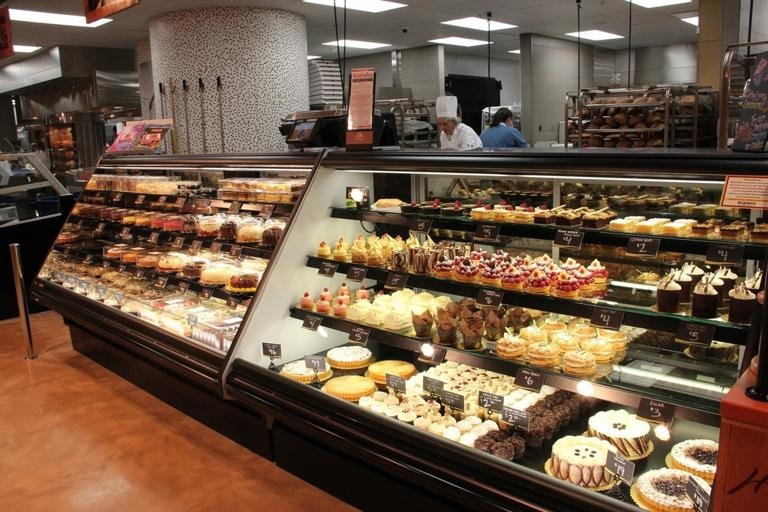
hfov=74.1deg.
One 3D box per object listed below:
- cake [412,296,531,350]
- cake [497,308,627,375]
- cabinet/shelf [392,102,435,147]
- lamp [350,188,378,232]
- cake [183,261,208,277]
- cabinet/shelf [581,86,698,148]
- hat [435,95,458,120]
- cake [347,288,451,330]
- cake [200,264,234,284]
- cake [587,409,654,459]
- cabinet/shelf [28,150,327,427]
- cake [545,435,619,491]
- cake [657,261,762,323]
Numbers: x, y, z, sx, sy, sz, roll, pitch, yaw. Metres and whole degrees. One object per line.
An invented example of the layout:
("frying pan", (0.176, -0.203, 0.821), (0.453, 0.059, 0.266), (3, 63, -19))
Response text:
("cake", (0.473, 0.349, 3.025), (0.451, 0.117, 0.471), (-5, 9, -32))
("cake", (1.009, 0.469, 2.818), (0.573, 0.166, 0.509), (11, 19, 38))
("cabinet/shelf", (0.532, -2.284, 8.733), (0.734, 0.749, 3.662), (0, 14, 5))
("lamp", (-0.133, -0.344, 3.693), (0.207, 0.267, 0.084), (7, 8, 30))
("cake", (-1.555, 0.103, 4.200), (0.167, 0.062, 0.163), (-3, 5, -42))
("cabinet/shelf", (3.157, -1.691, 6.211), (1.381, 0.793, 0.881), (15, 25, 40))
("hat", (0.862, -2.025, 6.856), (0.411, 0.257, 0.323), (-2, 14, -7))
("cake", (0.095, 0.287, 3.346), (0.440, 0.095, 0.394), (6, 10, 37))
("cake", (-1.353, 0.144, 4.062), (0.225, 0.052, 0.206), (7, 14, 33))
("cake", (1.215, 0.943, 2.671), (0.337, 0.079, 0.269), (5, 4, -3))
("cabinet/shelf", (-1.890, 0.039, 5.146), (4.132, 1.980, 2.022), (7, 20, 44))
("cake", (0.998, 1.019, 2.531), (0.393, 0.094, 0.306), (3, 16, 12))
("cake", (1.564, 0.179, 2.480), (0.423, 0.132, 0.358), (2, 10, 21))
